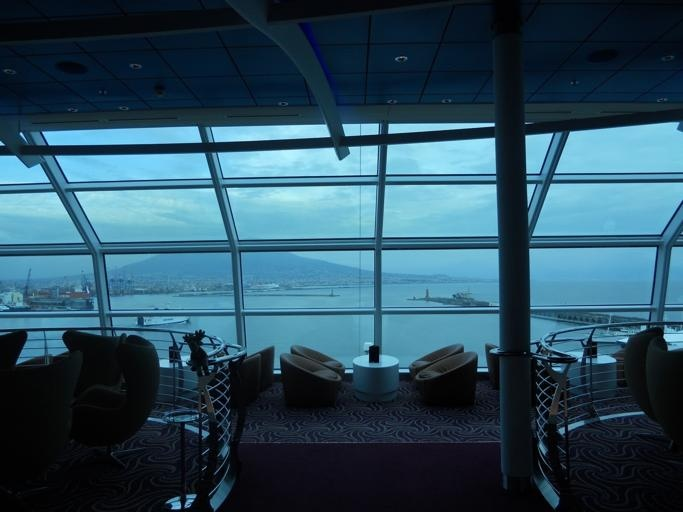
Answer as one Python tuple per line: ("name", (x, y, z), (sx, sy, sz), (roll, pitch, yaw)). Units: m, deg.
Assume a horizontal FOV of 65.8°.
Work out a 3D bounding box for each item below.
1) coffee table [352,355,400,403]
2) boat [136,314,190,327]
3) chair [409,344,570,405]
("coffee table", (0.512, 2.120, 9.022), (0.957, 0.420, 0.756), (-2, 4, -15))
("boat", (-3.623, 1.349, 10.869), (1.127, 0.220, 0.302), (-1, -2, 12))
("chair", (2.471, 1.965, 8.727), (2.722, 0.574, 1.070), (-1, -3, 9))
